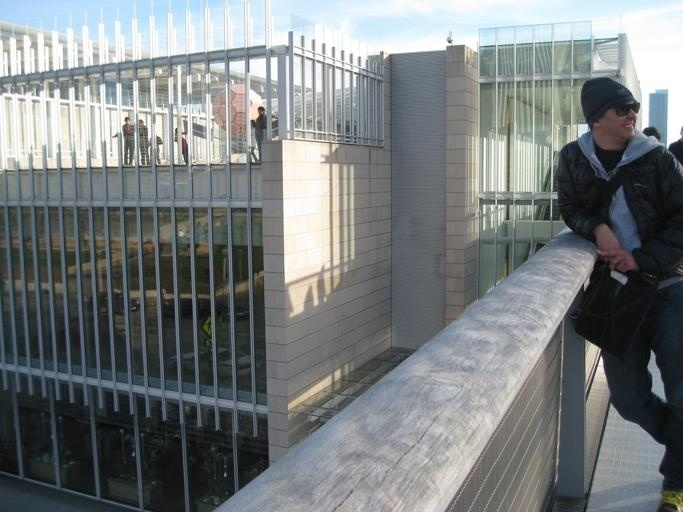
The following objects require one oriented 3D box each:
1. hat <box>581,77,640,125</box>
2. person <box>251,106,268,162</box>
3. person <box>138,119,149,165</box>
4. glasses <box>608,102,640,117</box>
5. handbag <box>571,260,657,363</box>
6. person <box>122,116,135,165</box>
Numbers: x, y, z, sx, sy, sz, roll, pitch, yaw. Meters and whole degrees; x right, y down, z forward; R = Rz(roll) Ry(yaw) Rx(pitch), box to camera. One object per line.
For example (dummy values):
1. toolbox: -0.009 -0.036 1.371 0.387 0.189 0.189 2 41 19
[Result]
1. hat: 1.471 -0.855 3.955 0.284 0.285 0.228 6 -14 -5
2. person: -1.442 -2.196 12.584 0.249 0.936 0.360 -7 13 -21
3. person: -3.903 -2.253 13.937 0.211 0.861 0.193 -1 12 9
4. glasses: 1.543 -0.796 3.816 0.088 0.036 0.095 -13 16 -18
5. handbag: 1.352 0.251 3.505 0.336 0.425 0.166 28 -7 -7
6. person: -4.230 -2.289 14.056 0.256 0.913 0.176 3 13 25
